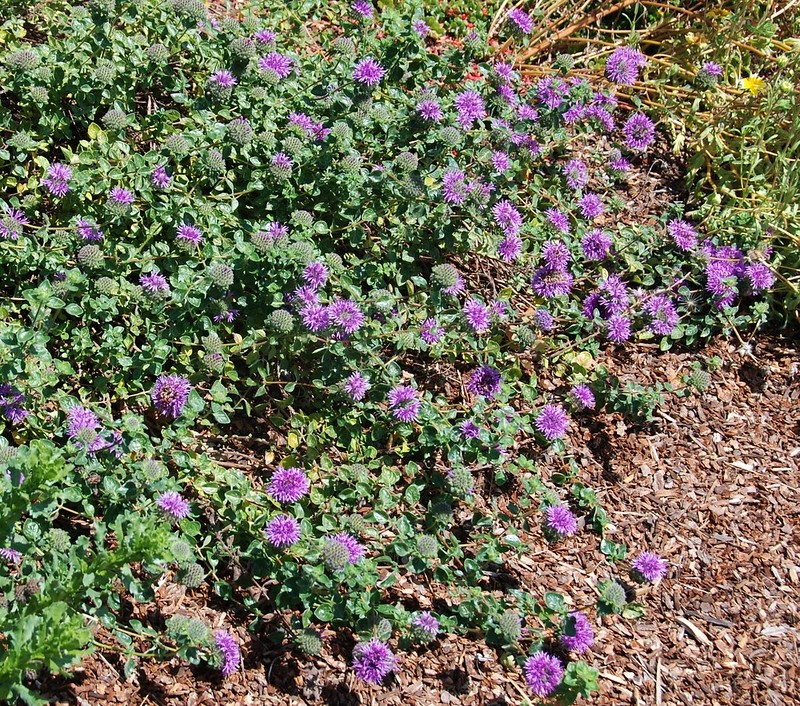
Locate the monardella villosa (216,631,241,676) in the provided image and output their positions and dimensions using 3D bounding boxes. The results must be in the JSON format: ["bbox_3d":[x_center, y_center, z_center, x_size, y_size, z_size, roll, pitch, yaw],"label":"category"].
[{"bbox_3d":[-0.727,1.272,3.546,0.126,0.168,0.169,-12,63,-7],"label":"monardella villosa"}]

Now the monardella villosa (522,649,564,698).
[{"bbox_3d":[0.607,1.401,3.678,0.186,0.112,0.185,34,71,23],"label":"monardella villosa"}]
